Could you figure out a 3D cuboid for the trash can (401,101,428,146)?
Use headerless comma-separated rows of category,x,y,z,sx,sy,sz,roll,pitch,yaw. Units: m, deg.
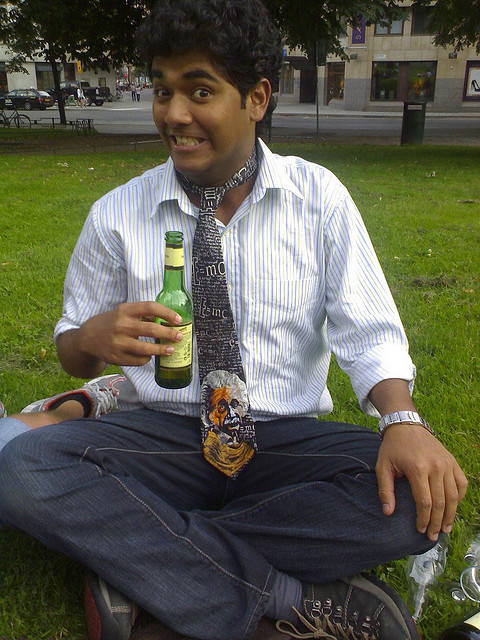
trash can,5.943,-6.713,16.573,0.764,1.404,1.391,8,23,18
